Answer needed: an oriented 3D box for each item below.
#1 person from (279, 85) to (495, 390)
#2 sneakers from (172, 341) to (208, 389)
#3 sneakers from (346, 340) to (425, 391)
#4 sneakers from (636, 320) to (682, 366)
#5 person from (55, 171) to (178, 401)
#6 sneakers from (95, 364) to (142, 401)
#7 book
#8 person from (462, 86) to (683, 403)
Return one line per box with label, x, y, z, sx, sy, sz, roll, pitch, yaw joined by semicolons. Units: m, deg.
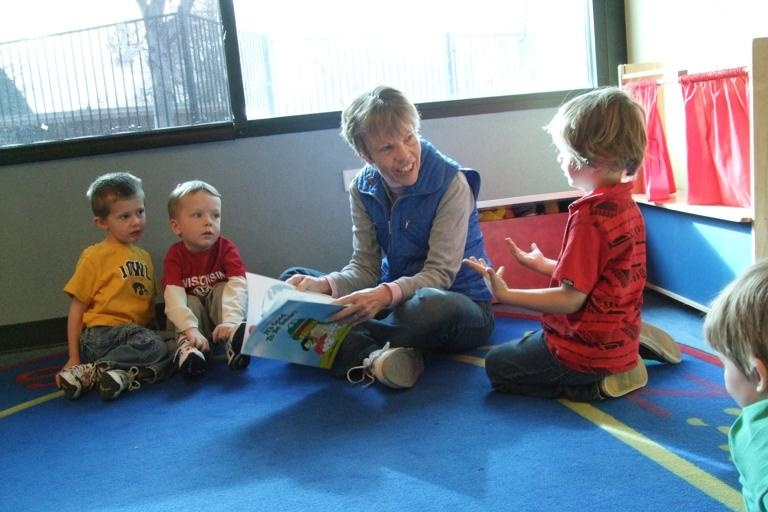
person;0.000;-0.099;2.140;0.766;1.040;0.849;-3;10;6
sneakers;-0.760;0.397;2.127;0.127;0.146;0.162;-12;14;-22
sneakers;0.005;0.398;1.972;0.190;0.140;0.321;-10;-9;-31
sneakers;0.955;0.305;1.872;0.198;0.056;0.112;35;23;33
person;-1.110;0.100;2.123;0.418;0.797;0.494;-12;15;-20
sneakers;-0.995;0.485;2.024;0.101;0.127;0.295;2;-5;-26
book;-0.298;0.223;1.835;0.285;0.143;0.367;-6;45;2
person;0.624;-0.031;1.721;0.696;0.946;0.306;-4;14;9
